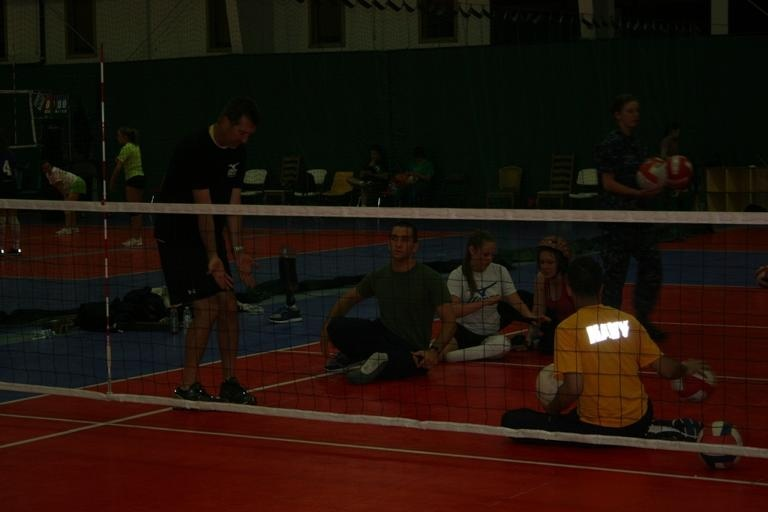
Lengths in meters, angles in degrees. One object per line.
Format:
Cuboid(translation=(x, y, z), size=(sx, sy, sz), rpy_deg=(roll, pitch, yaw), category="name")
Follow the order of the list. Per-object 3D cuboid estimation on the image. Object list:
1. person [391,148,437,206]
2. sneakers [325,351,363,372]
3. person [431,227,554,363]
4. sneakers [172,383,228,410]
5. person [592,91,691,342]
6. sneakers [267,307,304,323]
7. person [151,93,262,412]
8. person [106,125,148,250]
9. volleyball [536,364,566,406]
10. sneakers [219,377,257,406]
Cuboid(translation=(0.652, -1.655, 21.288), size=(0.643, 1.700, 0.911), rpy_deg=(5, 2, 22), category="person")
Cuboid(translation=(-0.478, 1.227, 10.990), size=(0.423, 0.193, 0.190), rpy_deg=(5, -1, 2), category="sneakers")
Cuboid(translation=(1.153, 0.484, 11.343), size=(1.241, 1.551, 0.994), rpy_deg=(-7, 17, -23), category="person")
Cuboid(translation=(-1.861, 1.449, 9.736), size=(0.595, 0.252, 0.206), rpy_deg=(1, -1, 3), category="sneakers")
Cuboid(translation=(3.112, -0.500, 11.581), size=(0.918, 2.708, 0.944), rpy_deg=(1, 1, 9), category="person")
Cuboid(translation=(-1.393, 0.835, 13.281), size=(0.489, 0.219, 0.186), rpy_deg=(2, -4, -39), category="sneakers")
Cuboid(translation=(-1.838, -0.048, 9.866), size=(1.049, 3.166, 0.814), rpy_deg=(-3, 7, -14), category="person")
Cuboid(translation=(-5.458, -1.488, 20.135), size=(0.795, 2.635, 0.862), rpy_deg=(-1, -1, -23), category="person")
Cuboid(translation=(1.512, 1.194, 8.814), size=(0.342, 0.340, 0.272), rpy_deg=(-24, -9, 5), category="volleyball")
Cuboid(translation=(-1.543, 1.414, 9.831), size=(0.381, 0.277, 0.212), rpy_deg=(1, 3, 11), category="sneakers")
